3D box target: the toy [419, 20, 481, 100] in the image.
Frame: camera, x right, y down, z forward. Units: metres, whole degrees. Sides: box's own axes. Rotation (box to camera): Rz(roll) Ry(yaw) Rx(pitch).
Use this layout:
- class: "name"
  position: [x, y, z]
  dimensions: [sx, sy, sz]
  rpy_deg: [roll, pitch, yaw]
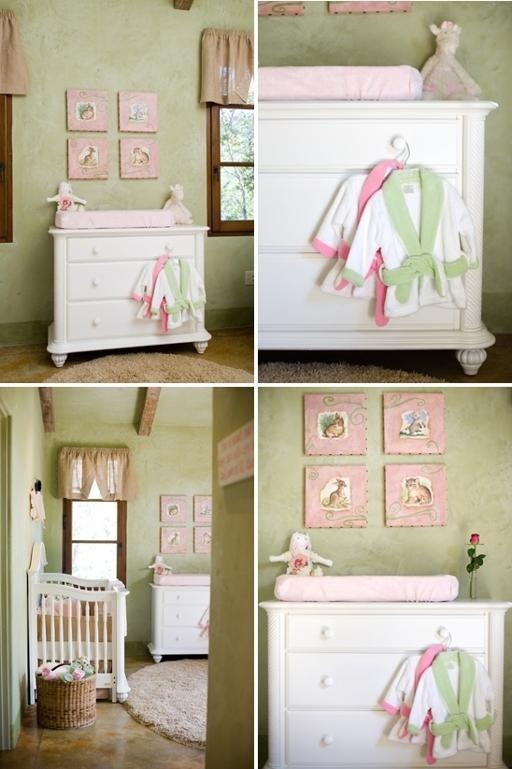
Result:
- class: "toy"
  position: [0.625, -1.071, 2.359]
  dimensions: [0.184, 0.295, 0.157]
  rpy_deg: [-1, 1, -4]

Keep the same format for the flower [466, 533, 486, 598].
- class: "flower"
  position: [0.723, 0.599, 2.354]
  dimensions: [0.065, 0.239, 0.225]
  rpy_deg: [-1, 1, 16]

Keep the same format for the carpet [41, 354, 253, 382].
- class: "carpet"
  position: [-0.371, -0.063, 2.537]
  dimensions: [0.705, 0.109, 0.342]
  rpy_deg: [-1, 2, -1]

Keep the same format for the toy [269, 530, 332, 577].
- class: "toy"
  position: [0.134, 0.566, 2.381]
  dimensions: [0.163, 0.151, 0.054]
  rpy_deg: [0, 0, -4]

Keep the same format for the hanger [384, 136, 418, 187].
- class: "hanger"
  position: [0.431, -0.690, 2.130]
  dimensions: [0.079, 0.102, 0.043]
  rpy_deg: [-2, 12, -8]

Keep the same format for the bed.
- class: "bed"
  position: [-0.773, 0.988, 3.038]
  dimensions: [0.497, 0.703, 0.423]
  rpy_deg: [-2, 2, -30]

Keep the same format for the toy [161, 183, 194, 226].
- class: "toy"
  position: [-0.319, -0.724, 2.842]
  dimensions: [0.109, 0.193, 0.178]
  rpy_deg: [-1, 1, -7]

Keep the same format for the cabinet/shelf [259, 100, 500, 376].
- class: "cabinet/shelf"
  position: [0.349, -0.460, 2.163]
  dimensions: [0.947, 0.885, 0.461]
  rpy_deg: [0, 8, 0]

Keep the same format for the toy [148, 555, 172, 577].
- class: "toy"
  position: [-0.511, 0.954, 3.749]
  dimensions: [0.097, 0.128, 0.062]
  rpy_deg: [4, -32, -23]

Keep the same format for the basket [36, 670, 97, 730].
- class: "basket"
  position: [-0.751, 1.198, 2.790]
  dimensions: [0.221, 0.162, 0.228]
  rpy_deg: [0, -6, -2]

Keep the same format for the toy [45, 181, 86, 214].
- class: "toy"
  position: [-0.752, -0.739, 2.793]
  dimensions: [0.152, 0.137, 0.189]
  rpy_deg: [-2, 2, -14]
